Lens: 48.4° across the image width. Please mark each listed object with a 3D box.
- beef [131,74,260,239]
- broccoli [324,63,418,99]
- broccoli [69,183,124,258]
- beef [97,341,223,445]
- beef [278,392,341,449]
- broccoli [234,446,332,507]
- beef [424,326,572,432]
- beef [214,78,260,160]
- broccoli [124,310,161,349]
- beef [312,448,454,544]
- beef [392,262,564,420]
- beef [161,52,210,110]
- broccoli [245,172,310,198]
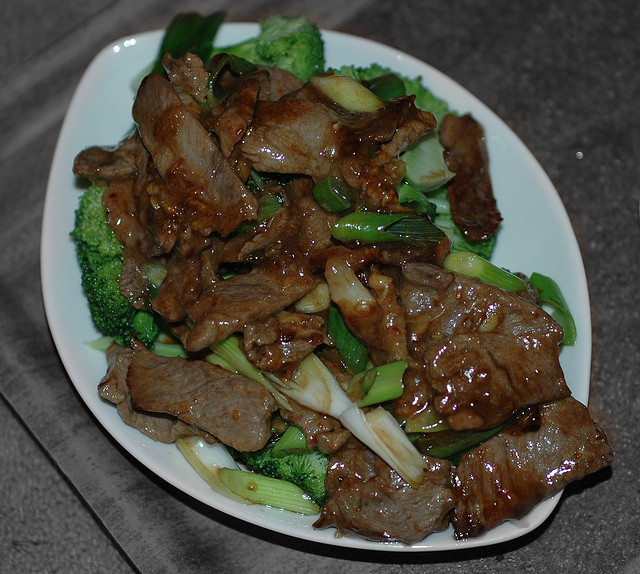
[{"bbox_3d":[-0.537,-0.581,3.232,0.653,0.672,0.514,-10,31,-17],"label":"beef"},{"bbox_3d":[0.266,-1.005,3.504,0.292,0.094,0.306,2,22,-15],"label":"broccoli"},{"bbox_3d":[-1.114,-0.323,3.536,0.163,0.334,0.290,-15,20,-23],"label":"broccoli"},{"bbox_3d":[-0.740,0.508,3.370,0.397,0.358,0.491,-20,32,-35],"label":"beef"},{"bbox_3d":[-0.063,0.588,3.315,0.182,0.290,0.171,-41,-4,-5],"label":"beef"},{"bbox_3d":[-0.260,0.884,3.495,0.229,0.338,0.095,-36,30,13],"label":"broccoli"},{"bbox_3d":[0.766,0.372,3.240,0.736,0.451,0.191,-21,-31,3],"label":"beef"},{"bbox_3d":[-0.361,-0.756,3.233,0.320,0.314,0.330,-4,28,-6],"label":"beef"},{"bbox_3d":[-0.890,0.218,3.596,0.198,0.174,0.057,-13,-4,-31],"label":"broccoli"},{"bbox_3d":[0.298,0.925,3.308,0.694,0.505,0.182,-16,-27,10],"label":"beef"},{"bbox_3d":[0.656,0.209,3.448,0.743,0.717,0.634,-2,25,-6],"label":"beef"},{"bbox_3d":[-0.633,-0.979,3.332,0.225,0.289,0.204,16,34,29],"label":"beef"},{"bbox_3d":[-0.206,-0.488,3.266,0.202,0.042,0.147,-14,32,-29],"label":"broccoli"}]
